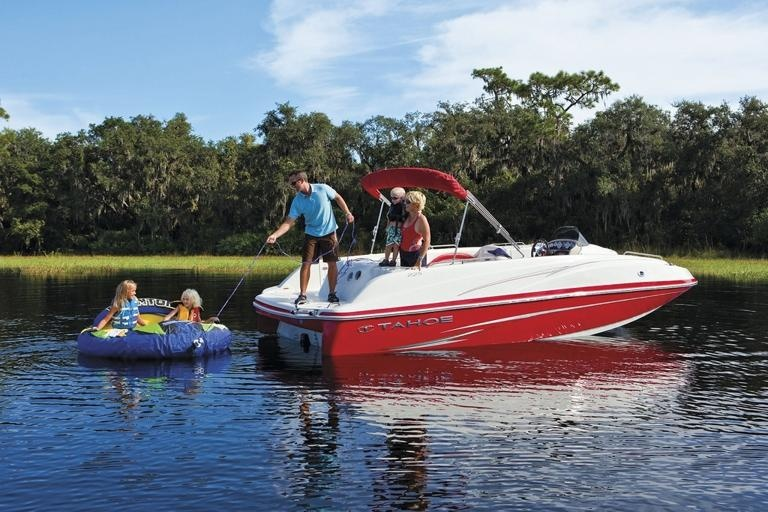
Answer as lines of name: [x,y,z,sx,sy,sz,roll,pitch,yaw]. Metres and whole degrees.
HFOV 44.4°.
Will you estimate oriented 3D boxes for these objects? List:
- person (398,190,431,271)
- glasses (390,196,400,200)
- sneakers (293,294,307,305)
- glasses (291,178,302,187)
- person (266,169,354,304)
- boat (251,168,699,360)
person: [0.537,-0.501,16.816,0.520,1.379,0.816,1,1,0]
glasses: [0.202,-1.080,17.067,0.112,0.030,0.118,-4,-5,45]
sneakers: [-1.490,0.757,16.755,0.190,0.145,0.378,0,-7,-8]
glasses: [-1.518,-1.298,16.437,0.147,0.044,0.139,-5,29,26]
person: [-1.211,-0.341,16.628,1.271,2.382,0.734,1,1,-12]
boat: [1.759,-0.114,17.936,8.201,2.659,3.631,-2,2,-22]
